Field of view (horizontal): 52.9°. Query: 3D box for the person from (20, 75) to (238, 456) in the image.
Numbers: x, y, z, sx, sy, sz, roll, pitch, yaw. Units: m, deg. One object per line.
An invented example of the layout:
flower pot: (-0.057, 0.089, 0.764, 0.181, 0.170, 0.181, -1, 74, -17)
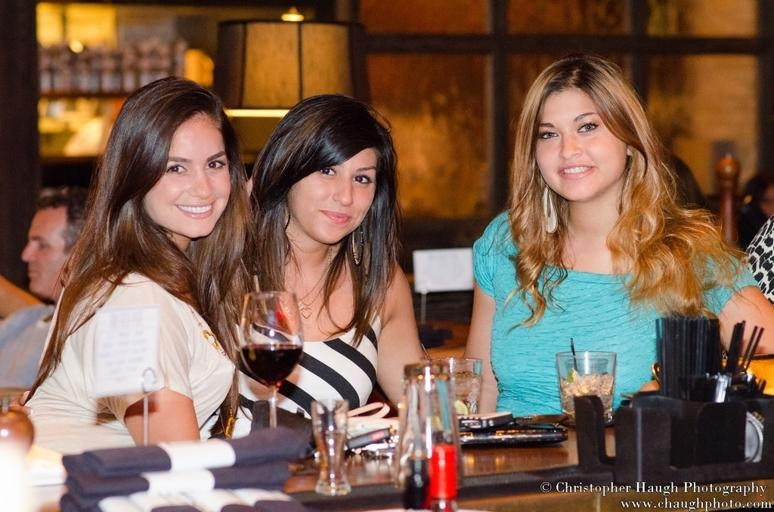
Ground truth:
person: (-0.817, 0.041, 2.681, 0.727, 1.181, 0.765, 4, 13, 10)

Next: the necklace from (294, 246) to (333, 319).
necklace: (-0.295, 0.120, 3.189, 0.180, 0.247, 0.066, 10, -10, 22)

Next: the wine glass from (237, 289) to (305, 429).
wine glass: (-0.301, 0.219, 2.039, 0.162, 0.249, 0.112, -2, -4, 6)

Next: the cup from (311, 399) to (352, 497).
cup: (-0.145, 0.477, 1.984, 0.092, 0.228, 0.179, -1, -4, -5)

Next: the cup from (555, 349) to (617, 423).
cup: (0.553, 0.389, 2.343, 0.202, 0.219, 0.198, 0, -4, 0)
